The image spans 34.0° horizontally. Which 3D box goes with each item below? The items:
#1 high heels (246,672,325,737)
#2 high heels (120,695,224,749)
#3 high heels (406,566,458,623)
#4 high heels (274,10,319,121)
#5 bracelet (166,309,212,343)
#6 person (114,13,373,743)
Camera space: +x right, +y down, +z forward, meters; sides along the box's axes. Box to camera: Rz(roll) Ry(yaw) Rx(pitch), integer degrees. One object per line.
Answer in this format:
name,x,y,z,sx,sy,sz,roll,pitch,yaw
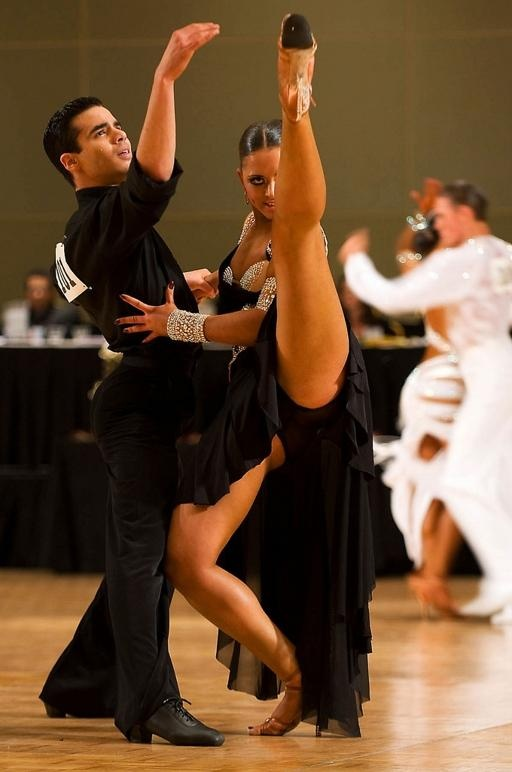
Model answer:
high heels,0.060,0.653,1.691,0.159,0.104,0.057,-15,-24,27
high heels,-0.144,0.649,1.626,0.220,0.085,0.080,-6,-10,20
high heels,0.640,0.771,3.062,0.103,0.163,0.067,-21,-17,-20
high heels,0.057,-0.463,1.237,0.061,0.155,0.044,2,41,-8
bracelet,-0.130,-0.114,1.609,0.082,0.059,0.044,1,13,6
person,-0.006,0.077,1.648,0.526,1.378,0.432,9,17,36
